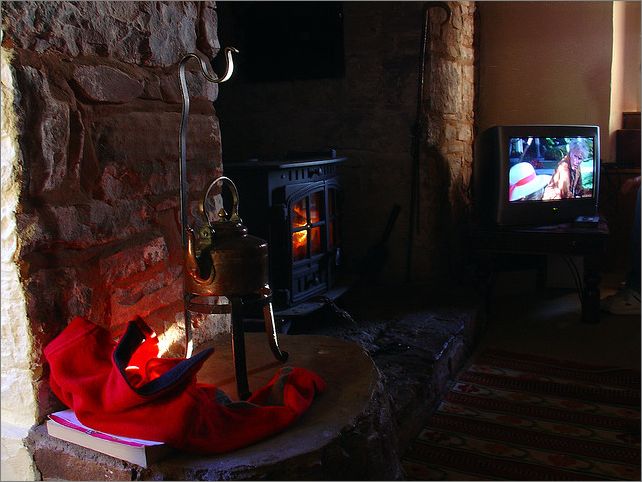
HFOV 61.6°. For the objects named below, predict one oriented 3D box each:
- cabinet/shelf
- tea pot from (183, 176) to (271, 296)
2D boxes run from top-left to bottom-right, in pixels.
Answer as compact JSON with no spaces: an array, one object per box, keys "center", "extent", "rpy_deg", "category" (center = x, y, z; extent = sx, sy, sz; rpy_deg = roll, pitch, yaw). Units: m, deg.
[{"center":[1.288,0.026,3.180],"extent":[0.590,0.431,0.825],"rpy_deg":[0,7,16],"category":"cabinet/shelf"},{"center":[-0.268,-0.003,1.495],"extent":[0.231,0.340,0.163],"rpy_deg":[-8,13,-24],"category":"tea pot"}]
